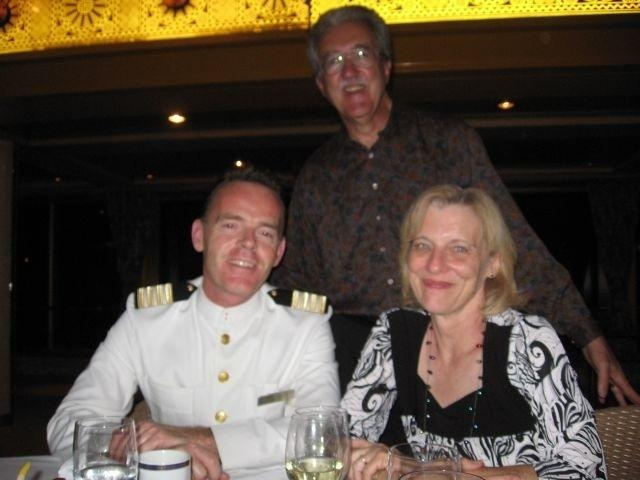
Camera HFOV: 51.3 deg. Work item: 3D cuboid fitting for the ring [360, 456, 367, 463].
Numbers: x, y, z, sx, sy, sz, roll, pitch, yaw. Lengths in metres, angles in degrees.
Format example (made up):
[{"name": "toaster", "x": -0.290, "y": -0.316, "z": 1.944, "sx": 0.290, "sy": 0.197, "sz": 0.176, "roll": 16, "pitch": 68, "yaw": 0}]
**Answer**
[{"name": "ring", "x": 0.206, "y": 1.059, "z": 3.181, "sx": 0.020, "sy": 0.019, "sz": 0.005, "roll": -10, "pitch": -19, "yaw": -34}]
